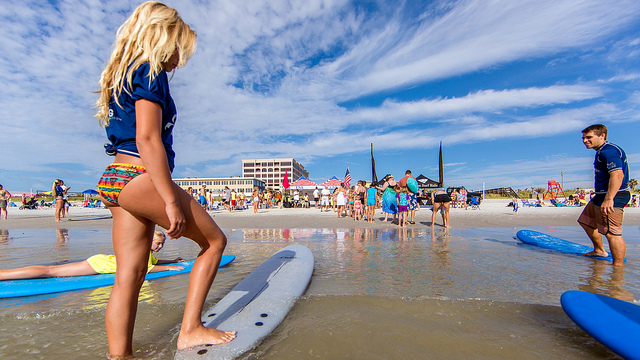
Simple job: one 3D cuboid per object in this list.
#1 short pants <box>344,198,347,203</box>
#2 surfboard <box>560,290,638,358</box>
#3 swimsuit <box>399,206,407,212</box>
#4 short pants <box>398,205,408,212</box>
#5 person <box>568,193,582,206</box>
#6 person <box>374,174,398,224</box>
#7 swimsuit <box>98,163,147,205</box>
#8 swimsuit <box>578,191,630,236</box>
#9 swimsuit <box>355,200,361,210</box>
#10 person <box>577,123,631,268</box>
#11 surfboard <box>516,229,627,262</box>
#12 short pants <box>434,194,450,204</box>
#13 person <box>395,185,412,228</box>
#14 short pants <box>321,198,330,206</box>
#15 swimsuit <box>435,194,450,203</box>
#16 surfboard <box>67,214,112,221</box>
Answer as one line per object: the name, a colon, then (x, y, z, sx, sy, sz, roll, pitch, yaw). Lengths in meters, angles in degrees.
short pants: (1.276, 0.964, 16.417, 0.127, 0.212, 0.122, 2, 5, -1)
surfboard: (3.753, 1.855, 4.485, 0.768, 0.907, 0.627, -3, -2, 41)
swimsuit: (2.939, 0.985, 11.829, 0.296, 0.202, 0.162, -1, -3, 18)
short pants: (2.923, 0.992, 11.835, 0.296, 0.193, 0.167, -2, -6, 25)
person: (20.838, 1.573, 27.349, 0.934, 0.869, 0.250, 12, 3, 12)
person: (2.716, 0.710, 13.523, 0.977, 1.862, 0.832, 0, -9, 11)
swimsuit: (-2.278, 0.036, 3.915, 0.504, 0.328, 0.376, 0, -7, 9)
swimsuit: (5.797, 0.554, 6.727, 0.605, 0.927, 1.025, 7, 9, 12)
swimsuit: (1.612, 1.062, 14.170, 0.336, 0.433, 0.259, -1, 2, 1)
person: (5.631, 0.289, 6.607, 0.656, 3.113, 0.787, -2, -1, 6)
surfboard: (5.555, 1.436, 7.714, 0.755, 0.651, 1.819, -1, -3, -26)
short pants: (3.948, 0.543, 10.724, 0.472, 0.325, 0.246, 0, 6, 16)
person: (2.965, 0.884, 11.921, 0.384, 1.149, 0.614, -2, -2, 13)
short pants: (0.332, 1.372, 21.443, 0.504, 0.490, 0.921, -2, -3, -1)
swimsuit: (3.931, 0.571, 10.711, 0.474, 0.282, 0.242, -1, 3, 17)
surfboard: (-10.194, 1.692, 15.083, 1.128, 0.067, 2.884, -1, -3, -7)
